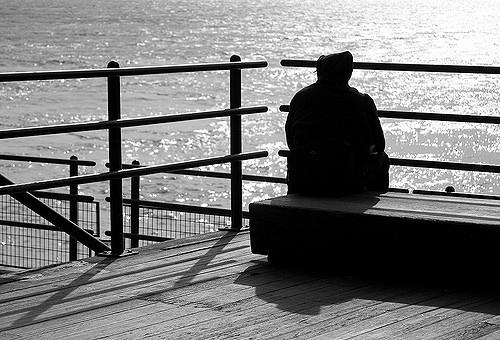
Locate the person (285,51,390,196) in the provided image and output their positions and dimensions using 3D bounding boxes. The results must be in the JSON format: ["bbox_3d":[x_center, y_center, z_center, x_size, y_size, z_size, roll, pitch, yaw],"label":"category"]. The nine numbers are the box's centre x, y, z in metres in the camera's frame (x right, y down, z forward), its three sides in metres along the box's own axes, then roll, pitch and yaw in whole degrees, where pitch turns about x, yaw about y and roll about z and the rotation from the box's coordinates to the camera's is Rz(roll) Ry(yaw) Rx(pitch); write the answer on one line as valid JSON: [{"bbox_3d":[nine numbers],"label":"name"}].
[{"bbox_3d":[0.915,-0.513,9.812,1.112,1.473,0.442,2,4,4],"label":"person"}]
